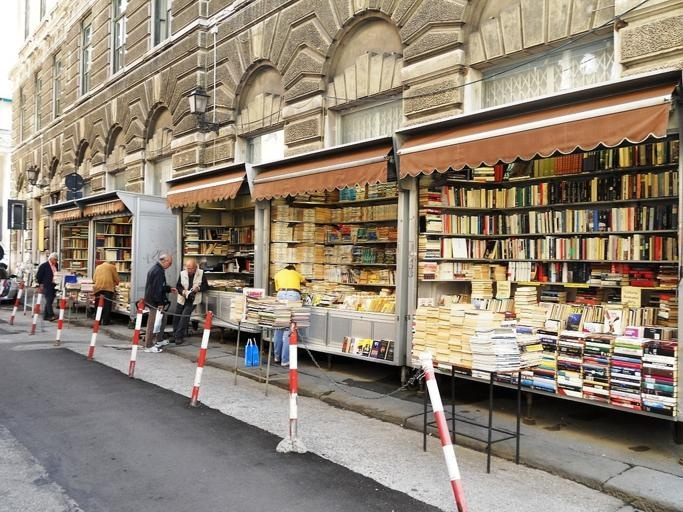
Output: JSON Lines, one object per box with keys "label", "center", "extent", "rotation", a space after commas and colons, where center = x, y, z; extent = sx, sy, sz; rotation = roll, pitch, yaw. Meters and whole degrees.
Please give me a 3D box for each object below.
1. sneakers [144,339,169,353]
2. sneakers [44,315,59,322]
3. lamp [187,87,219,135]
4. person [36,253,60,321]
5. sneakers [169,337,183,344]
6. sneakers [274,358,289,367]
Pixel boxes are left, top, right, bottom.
{"label": "sneakers", "center": [-4.239, 2.067, 12.321], "extent": [0.186, 0.155, 0.409], "rotation": [5, 7, 43]}
{"label": "sneakers", "center": [-9.101, 1.961, 16.803], "extent": [0.316, 0.126, 0.118], "rotation": [-2, 0, -9]}
{"label": "lamp", "center": [-4.059, -4.379, 15.872], "extent": [0.797, 1.491, 1.298], "rotation": [3, -3, -13]}
{"label": "person", "center": [-9.173, 0.951, 16.654], "extent": [0.501, 2.064, 0.897], "rotation": [3, -4, -15]}
{"label": "sneakers", "center": [-4.009, 2.042, 13.041], "extent": [0.140, 0.147, 0.372], "rotation": [3, -5, -34]}
{"label": "sneakers", "center": [-1.192, 2.115, 10.770], "extent": [0.165, 0.175, 0.419], "rotation": [1, -5, 3]}
